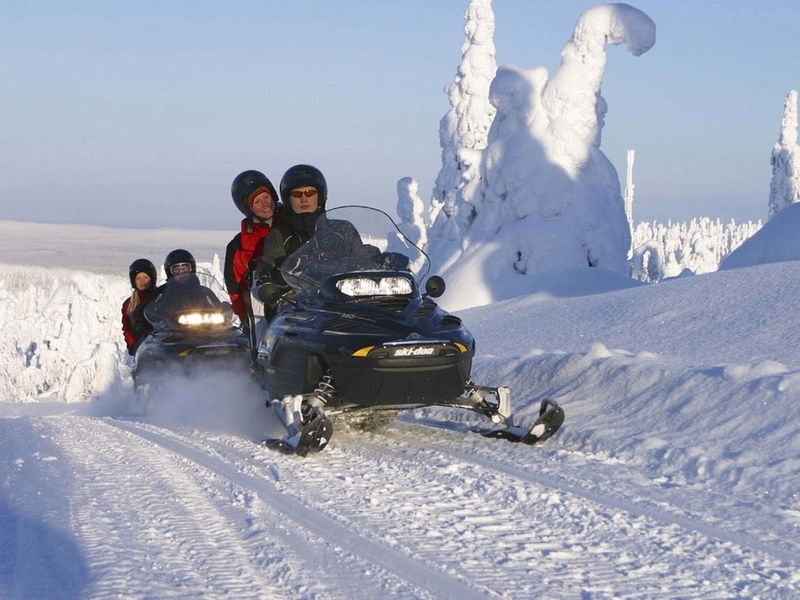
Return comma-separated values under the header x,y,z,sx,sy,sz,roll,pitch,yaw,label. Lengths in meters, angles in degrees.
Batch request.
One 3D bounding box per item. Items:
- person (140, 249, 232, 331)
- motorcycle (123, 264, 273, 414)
x,y,z,sx,sy,sz,roll,pitch,yaw,label
-3.304,-0.454,17.066,1.134,0.541,0.690,-11,-25,24,person
-2.970,0.468,15.663,1.296,1.212,2.408,-4,-1,-20,motorcycle
